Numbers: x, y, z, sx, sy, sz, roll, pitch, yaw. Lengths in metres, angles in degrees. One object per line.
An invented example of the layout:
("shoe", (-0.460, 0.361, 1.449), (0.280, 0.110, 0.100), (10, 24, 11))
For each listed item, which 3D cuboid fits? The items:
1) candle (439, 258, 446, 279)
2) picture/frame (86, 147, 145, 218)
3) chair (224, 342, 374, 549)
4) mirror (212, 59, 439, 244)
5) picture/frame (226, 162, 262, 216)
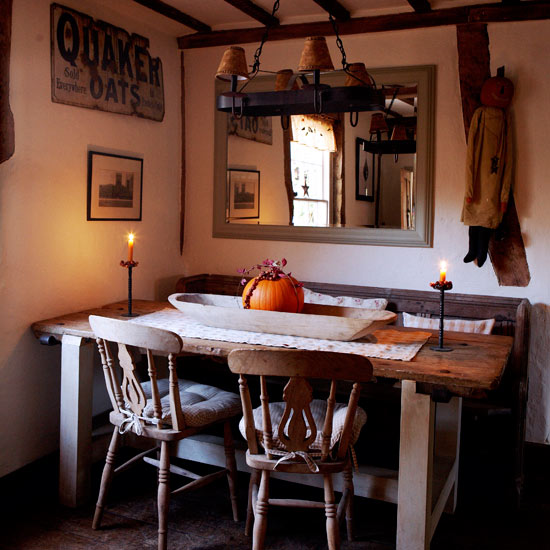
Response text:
("candle", (0.610, -0.027, 1.833), (0.019, 0.076, 0.085), (3, 5, 16))
("picture/frame", (-1.014, -0.581, 3.125), (0.014, 0.385, 0.461), (1, 1, 20))
("chair", (0.082, 0.556, 1.759), (0.457, 0.756, 0.587), (2, 5, 8))
("mirror", (0.366, -0.743, 3.053), (1.110, 0.964, 0.044), (1, 1, 21))
("picture/frame", (-0.220, -0.636, 3.625), (0.314, 0.520, 0.048), (2, 5, 21))
